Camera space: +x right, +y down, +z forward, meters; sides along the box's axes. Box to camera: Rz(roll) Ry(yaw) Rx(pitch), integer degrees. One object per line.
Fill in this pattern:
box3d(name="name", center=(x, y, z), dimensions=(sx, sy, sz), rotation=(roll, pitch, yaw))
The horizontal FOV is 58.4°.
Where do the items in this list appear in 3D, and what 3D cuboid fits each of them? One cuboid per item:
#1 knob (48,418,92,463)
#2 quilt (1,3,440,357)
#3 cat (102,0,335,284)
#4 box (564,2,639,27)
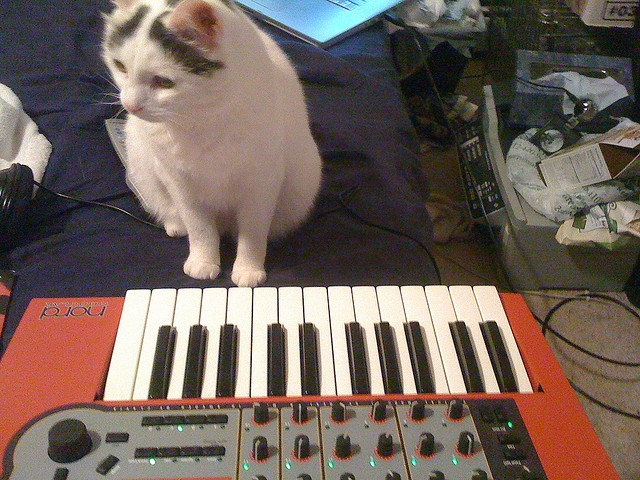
box3d(name="knob", center=(-0.396, 0.318, 0.905), dimensions=(0.066, 0.033, 0.062), rotation=(-5, 46, -9))
box3d(name="quilt", center=(-0.279, -0.054, 1.561), dimensions=(0.876, 0.885, 0.848), rotation=(1, 42, -4))
box3d(name="cat", center=(-0.141, -0.182, 1.030), dimensions=(0.413, 0.483, 0.337), rotation=(-16, 55, -13))
box3d(name="box", center=(0.642, -0.509, 1.291), dimensions=(0.102, 0.068, 0.054), rotation=(15, 87, 11))
